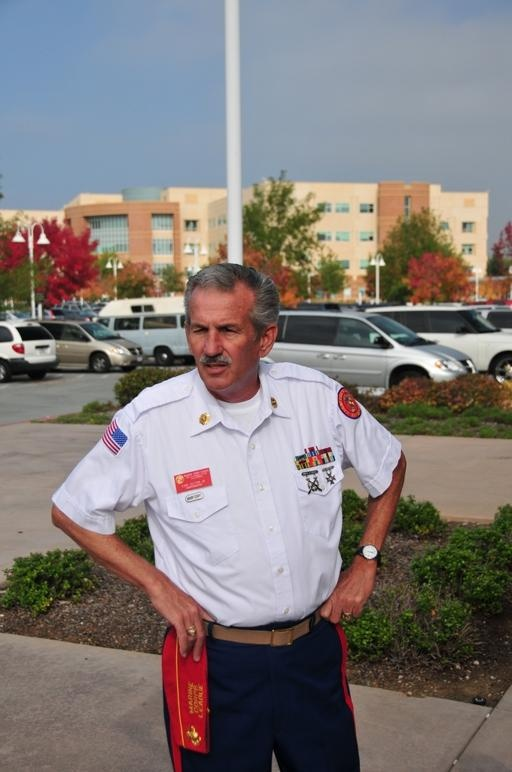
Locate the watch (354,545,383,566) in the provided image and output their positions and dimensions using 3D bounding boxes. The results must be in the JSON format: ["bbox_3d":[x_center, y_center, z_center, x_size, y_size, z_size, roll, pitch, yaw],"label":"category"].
[{"bbox_3d":[0.304,0.448,2.349,0.070,0.039,0.066,0,-29,12],"label":"watch"}]

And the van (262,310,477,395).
[{"bbox_3d":[2.027,-0.598,15.476,3.570,1.256,1.552,0,4,13],"label":"van"}]

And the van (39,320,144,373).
[{"bbox_3d":[-4.917,-1.194,26.526,2.993,1.200,1.556,1,7,17],"label":"van"}]

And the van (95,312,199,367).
[{"bbox_3d":[-3.279,-1.574,27.642,4.377,1.662,2.183,1,7,19],"label":"van"}]

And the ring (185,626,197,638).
[{"bbox_3d":[-0.154,0.582,2.058,0.023,0.026,0.026,-2,-9,1],"label":"ring"}]
